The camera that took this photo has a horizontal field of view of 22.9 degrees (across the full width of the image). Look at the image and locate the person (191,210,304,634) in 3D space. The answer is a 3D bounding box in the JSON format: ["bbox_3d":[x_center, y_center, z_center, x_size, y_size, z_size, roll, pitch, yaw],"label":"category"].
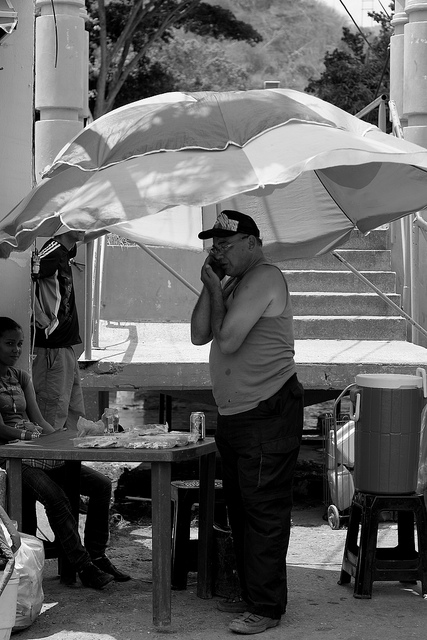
[{"bbox_3d":[0.134,0.463,5.053,0.503,1.945,0.425,1,1,33],"label":"person"}]

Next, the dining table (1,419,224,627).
[{"bbox_3d":[-0.471,0.958,5.424,0.947,0.887,0.990,3,9,17],"label":"dining table"}]

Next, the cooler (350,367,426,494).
[{"bbox_3d":[0.905,0.575,5.613,0.326,0.645,0.342,2,7,-14],"label":"cooler"}]
